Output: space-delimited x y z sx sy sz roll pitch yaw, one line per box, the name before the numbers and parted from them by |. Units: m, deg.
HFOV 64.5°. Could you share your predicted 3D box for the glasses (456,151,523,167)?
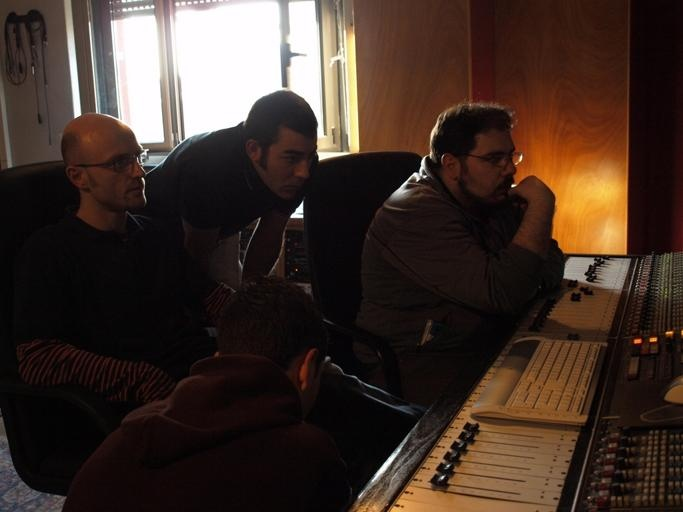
glasses | 0.548 -0.336 1.881 0.122 0.038 0.118 11 17 43
